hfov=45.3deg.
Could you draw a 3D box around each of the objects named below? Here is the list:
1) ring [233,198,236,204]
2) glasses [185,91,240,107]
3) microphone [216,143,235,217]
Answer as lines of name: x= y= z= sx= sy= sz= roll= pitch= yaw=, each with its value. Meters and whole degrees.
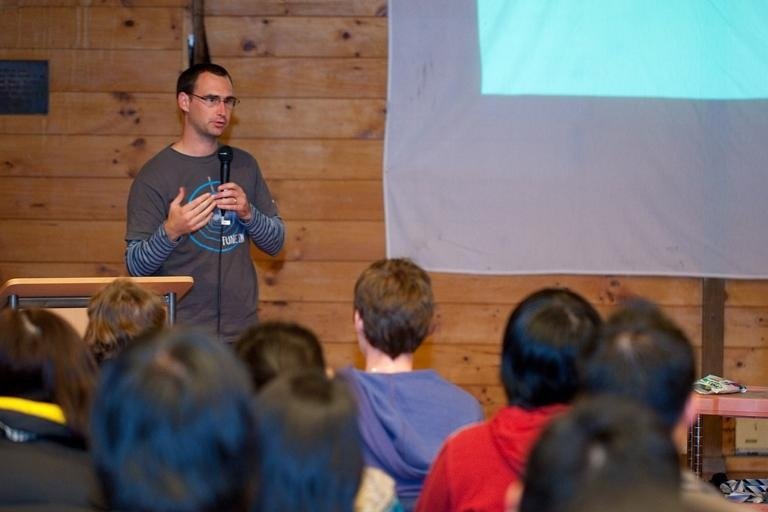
ring: x=-0.693 y=-0.256 z=4.296 sx=0.019 sy=0.026 sz=0.008 roll=-2 pitch=1 yaw=-13
glasses: x=-0.832 y=-0.756 z=4.487 sx=0.230 sy=0.063 sz=0.071 roll=3 pitch=3 yaw=-16
microphone: x=-0.765 y=-0.350 z=4.423 sx=0.075 sy=0.357 sz=0.301 roll=3 pitch=3 yaw=-10
